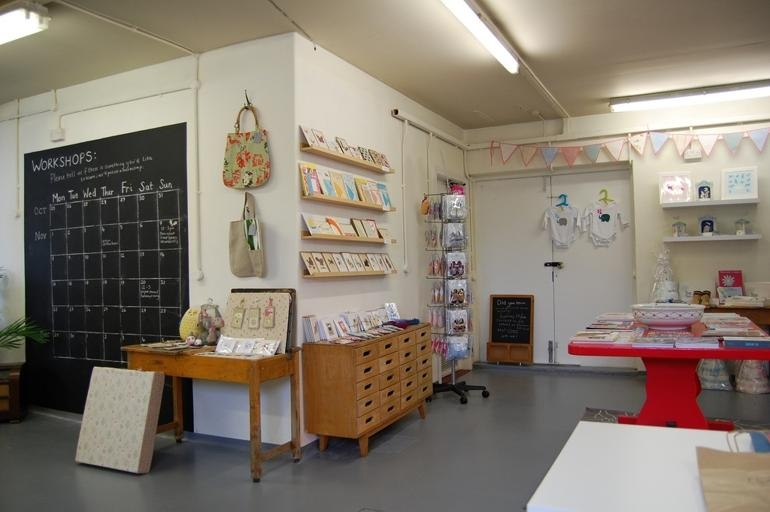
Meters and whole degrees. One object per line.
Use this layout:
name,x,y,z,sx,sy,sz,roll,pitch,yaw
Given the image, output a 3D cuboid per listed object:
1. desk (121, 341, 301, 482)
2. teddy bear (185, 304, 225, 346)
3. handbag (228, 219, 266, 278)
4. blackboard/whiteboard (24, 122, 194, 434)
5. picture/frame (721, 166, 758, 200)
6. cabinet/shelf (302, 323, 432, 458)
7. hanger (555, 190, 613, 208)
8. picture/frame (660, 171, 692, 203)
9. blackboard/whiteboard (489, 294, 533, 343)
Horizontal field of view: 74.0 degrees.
desk,-1.631,1.429,4.884,1.545,1.114,0.757,-2,-3,22
teddy bear,-1.814,0.659,5.035,0.448,0.379,0.340,-2,4,-12
handbag,-1.349,-0.065,5.002,0.381,0.560,0.110,0,4,18
blackboard/whiteboard,-2.950,0.243,5.576,3.329,4.219,0.066,-2,-3,25
picture/frame,4.656,-0.950,6.673,0.443,0.479,0.032,2,-9,24
cabinet/shelf,-0.092,1.330,5.438,0.566,1.009,1.633,-4,-2,29
hanger,3.002,-0.873,7.677,0.800,0.240,0.080,0,4,19
picture/frame,3.974,-0.933,6.941,0.438,0.520,0.038,1,-5,14
blackboard/whiteboard,1.998,0.996,7.983,0.684,0.605,0.072,-6,-13,17
